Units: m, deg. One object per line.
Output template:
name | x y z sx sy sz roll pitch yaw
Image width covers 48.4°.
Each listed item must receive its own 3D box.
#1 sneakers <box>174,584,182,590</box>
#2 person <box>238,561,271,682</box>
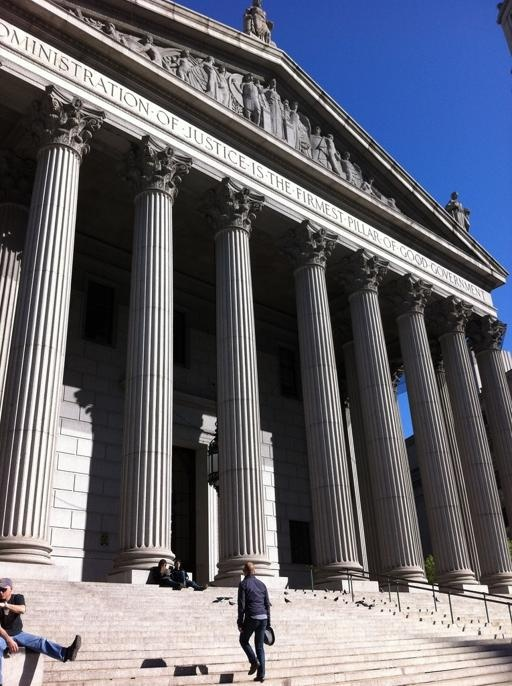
sneakers | -1.722 5.325 12.431 0.178 0.153 0.375 2 -23 -8
person | -0.040 3.628 7.519 0.417 1.395 0.832 -2 -23 -1
